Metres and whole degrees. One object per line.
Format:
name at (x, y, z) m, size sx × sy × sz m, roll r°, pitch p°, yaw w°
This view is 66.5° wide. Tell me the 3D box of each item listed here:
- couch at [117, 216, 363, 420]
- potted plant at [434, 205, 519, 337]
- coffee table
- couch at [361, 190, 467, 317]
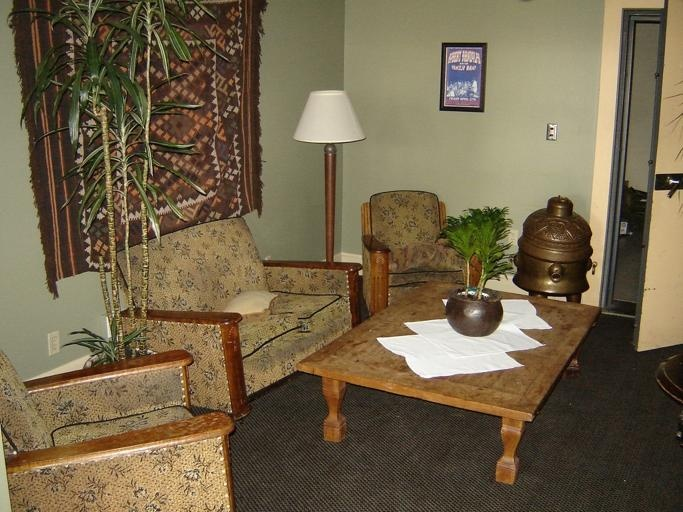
couch at (-0.632, 0.295, 3.391) m, size 0.993 × 0.859 × 1.429 m, roll 7°, pitch 15°, yaw 29°
potted plant at (0.749, 0.075, 2.989) m, size 0.408 × 0.709 × 0.357 m, roll 0°, pitch 10°, yaw 15°
coffee table at (0.466, 0.592, 2.650) m, size 0.972 × 0.338 × 1.300 m, roll 5°, pitch 16°, yaw 28°
couch at (0.547, -0.087, 4.410) m, size 0.989 × 1.267 × 0.973 m, roll -2°, pitch 6°, yaw -8°
